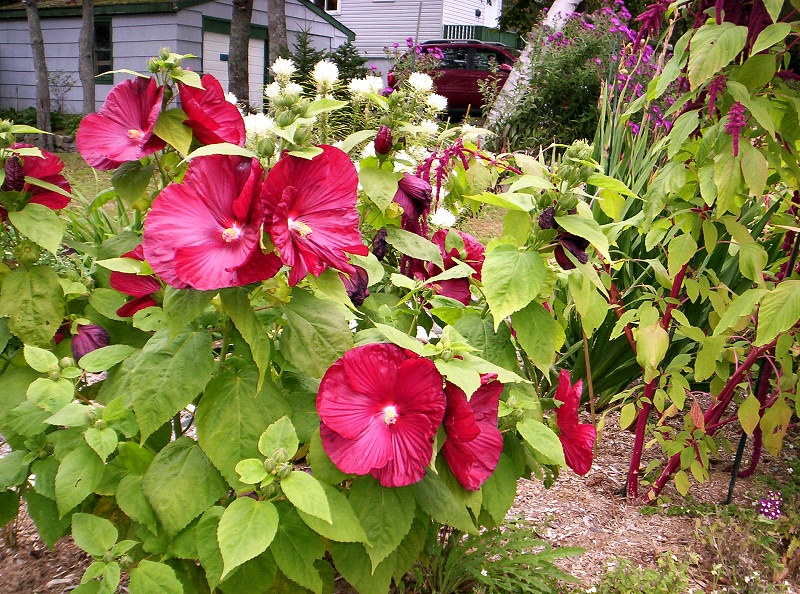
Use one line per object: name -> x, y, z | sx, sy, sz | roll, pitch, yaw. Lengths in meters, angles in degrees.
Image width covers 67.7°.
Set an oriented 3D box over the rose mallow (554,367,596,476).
rose mallow -> 0.540, 0.418, 1.783 | 0.079, 0.256, 0.255 | -12, 39, 24
